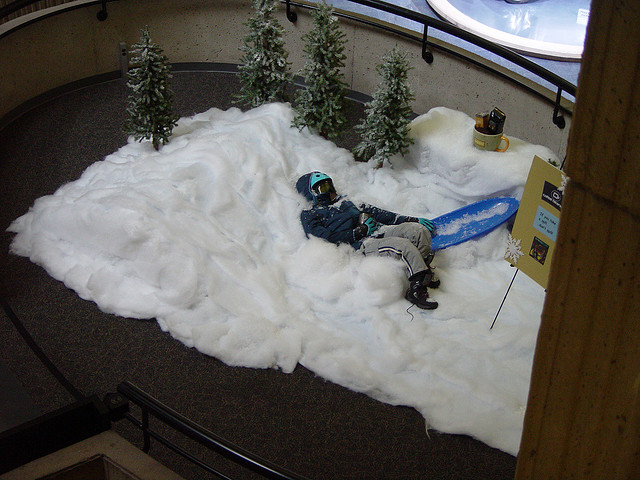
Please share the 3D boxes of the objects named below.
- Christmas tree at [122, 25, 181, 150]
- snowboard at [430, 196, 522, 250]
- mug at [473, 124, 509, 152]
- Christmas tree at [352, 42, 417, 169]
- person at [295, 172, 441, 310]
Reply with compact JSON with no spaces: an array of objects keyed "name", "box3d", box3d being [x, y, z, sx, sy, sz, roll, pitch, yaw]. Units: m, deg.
[{"name":"Christmas tree","box3d":[-1.934,-1.682,5.926,0.603,1.253,0.415,-12,35,-19]},{"name":"snowboard","box3d":[1.582,-0.161,5.309,0.887,0.093,0.224,-26,52,4]},{"name":"mug","box3d":[1.840,-1.090,5.838,0.237,0.243,0.379,-21,50,-33]},{"name":"Christmas tree","box3d":[0.722,-1.508,6.063,0.567,1.539,0.548,-7,32,-16]},{"name":"person","box3d":[0.493,0.055,5.386,1.556,0.930,0.929,20,41,33]}]
